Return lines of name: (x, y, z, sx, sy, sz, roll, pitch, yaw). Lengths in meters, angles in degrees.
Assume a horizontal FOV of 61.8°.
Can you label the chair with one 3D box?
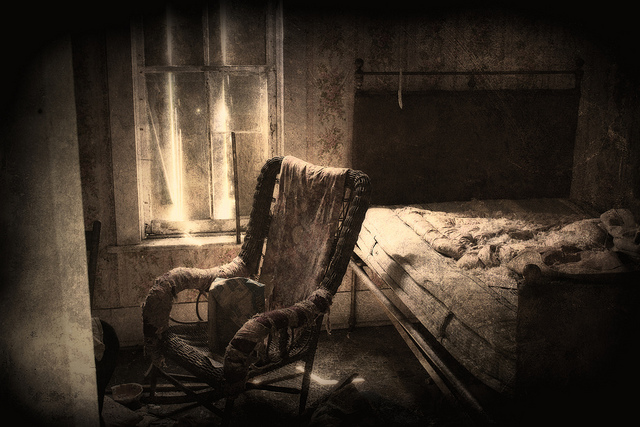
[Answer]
chair: (-0.329, 0.424, 2.717, 0.793, 1.235, 1.031, 11, 18, 38)
